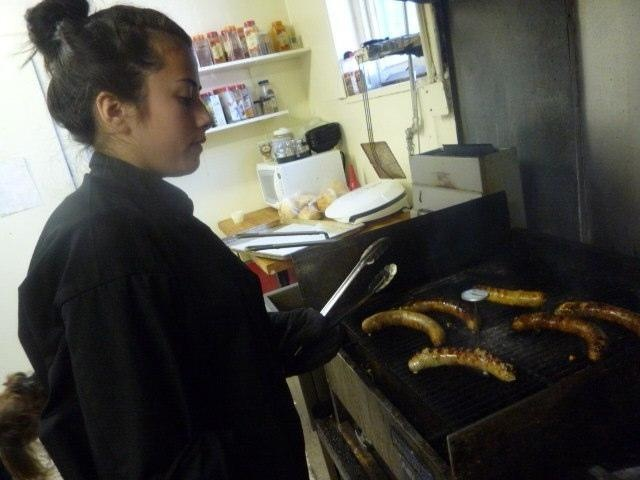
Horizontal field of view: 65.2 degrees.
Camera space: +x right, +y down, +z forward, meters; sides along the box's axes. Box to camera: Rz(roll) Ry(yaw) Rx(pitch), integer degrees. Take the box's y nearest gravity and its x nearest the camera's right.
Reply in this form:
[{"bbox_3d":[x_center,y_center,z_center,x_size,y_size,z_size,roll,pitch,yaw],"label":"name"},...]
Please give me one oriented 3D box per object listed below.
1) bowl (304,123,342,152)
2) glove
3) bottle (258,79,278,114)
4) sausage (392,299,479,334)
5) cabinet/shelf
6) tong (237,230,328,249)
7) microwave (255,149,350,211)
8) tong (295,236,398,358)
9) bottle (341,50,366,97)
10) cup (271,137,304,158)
[{"bbox_3d":[0.025,-0.686,3.415,0.221,0.156,0.175,-20,10,-1],"label":"bowl"},{"bbox_3d":[-0.039,0.277,1.378,0.209,0.165,0.076,-10,16,-20],"label":"glove"},{"bbox_3d":[-0.375,-1.026,3.628,0.130,0.238,0.133,-10,13,2],"label":"bottle"},{"bbox_3d":[0.362,0.223,1.539,0.230,0.079,0.061,5,17,43],"label":"sausage"},{"bbox_3d":[-0.468,-1.057,3.450,1.049,0.480,0.287,-18,5,-23],"label":"cabinet/shelf"},{"bbox_3d":[-0.170,-0.003,2.526,0.270,0.049,0.170,-6,5,1],"label":"tong"},{"bbox_3d":[-0.119,-0.489,3.281,0.406,0.348,0.537,-22,4,-9],"label":"microwave"},{"bbox_3d":[0.105,0.143,1.518,0.066,0.143,0.506,10,38,37],"label":"tong"},{"bbox_3d":[0.211,-1.021,3.077,0.127,0.232,0.129,-6,11,1],"label":"bottle"},{"bbox_3d":[-0.210,-0.591,3.266,0.154,0.099,0.157,-1,7,0],"label":"cup"}]
